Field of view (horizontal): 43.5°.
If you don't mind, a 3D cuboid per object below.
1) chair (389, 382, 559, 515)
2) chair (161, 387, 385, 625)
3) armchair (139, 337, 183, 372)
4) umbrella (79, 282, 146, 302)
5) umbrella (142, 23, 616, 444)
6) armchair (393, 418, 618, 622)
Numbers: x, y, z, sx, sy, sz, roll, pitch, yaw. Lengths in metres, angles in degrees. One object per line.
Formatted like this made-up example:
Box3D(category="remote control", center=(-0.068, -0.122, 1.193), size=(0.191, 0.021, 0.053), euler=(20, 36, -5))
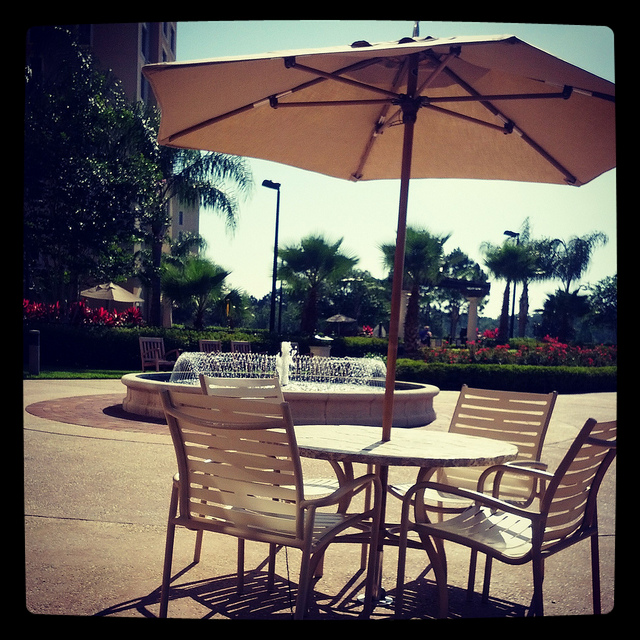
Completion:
Box3D(category="chair", center=(0.957, 0.738, 4.863), size=(0.823, 0.840, 0.940), euler=(18, -11, -33))
Box3D(category="chair", center=(-0.306, 0.889, 4.054), size=(0.853, 1.321, 0.883), euler=(7, 14, 31))
Box3D(category="armchair", center=(-3.636, 0.784, 18.092), size=(0.600, 1.073, 0.618), euler=(-7, -7, 41))
Box3D(category="umbrella", center=(-6.543, -0.928, 25.264), size=(1.314, 0.553, 1.732), euler=(6, 1, 41))
Box3D(category="umbrella", center=(0.509, -0.689, 4.821), size=(2.167, 1.960, 2.126), euler=(5, -8, 32))
Box3D(category="armchair", center=(0.951, 0.977, 4.045), size=(0.974, 0.921, 0.792), euler=(5, 2, 23))
